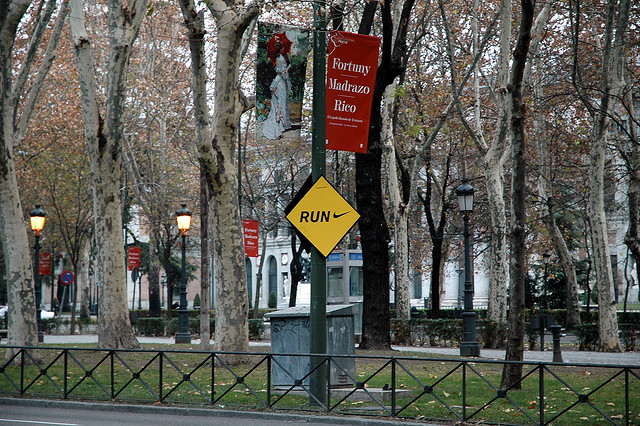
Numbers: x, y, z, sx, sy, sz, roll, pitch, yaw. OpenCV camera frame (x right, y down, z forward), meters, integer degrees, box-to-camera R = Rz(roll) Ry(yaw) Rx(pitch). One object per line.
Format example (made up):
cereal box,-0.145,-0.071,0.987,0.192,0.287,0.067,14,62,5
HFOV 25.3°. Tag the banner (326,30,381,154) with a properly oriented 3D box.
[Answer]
banner,1.247,-4.361,52.912,2.415,4.039,1.753,0,0,2

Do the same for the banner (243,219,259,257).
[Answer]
banner,-2.958,1.137,60.590,0.110,1.536,1.625,-4,-5,19
